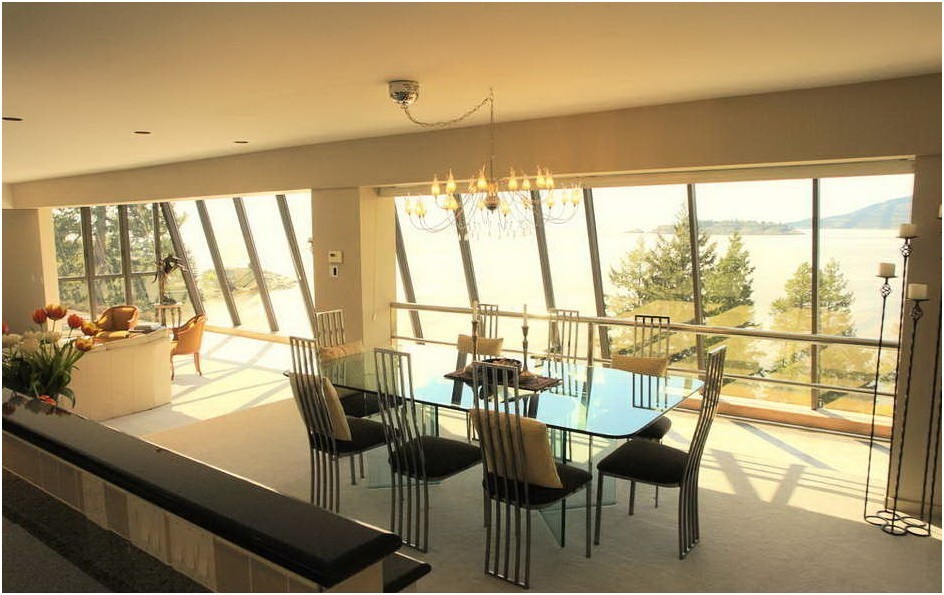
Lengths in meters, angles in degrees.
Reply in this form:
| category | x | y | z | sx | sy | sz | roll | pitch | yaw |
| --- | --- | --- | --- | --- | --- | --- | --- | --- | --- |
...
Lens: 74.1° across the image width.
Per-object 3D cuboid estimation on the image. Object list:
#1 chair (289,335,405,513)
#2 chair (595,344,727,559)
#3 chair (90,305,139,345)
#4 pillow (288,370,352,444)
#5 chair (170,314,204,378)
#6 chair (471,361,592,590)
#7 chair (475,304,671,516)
| category | x | y | z | sx | sy | sz | roll | pitch | yaw |
| --- | --- | --- | --- | --- | --- | --- | --- | --- | --- |
| chair | -1.053 | 1.116 | 5.478 | 0.884 | 1.462 | 0.781 | -3 | 5 | -37 |
| chair | 1.469 | 1.239 | 4.990 | 0.899 | 1.454 | 0.824 | 2 | 2 | 41 |
| chair | -5.319 | 0.471 | 9.355 | 0.620 | 0.639 | 0.608 | 5 | 6 | 22 |
| pillow | -1.194 | 0.896 | 5.217 | 0.447 | 0.549 | 0.414 | -11 | 14 | -43 |
| chair | -4.206 | 0.677 | 9.240 | 0.517 | 0.910 | 1.207 | -6 | 14 | -23 |
| chair | 0.420 | 1.189 | 4.752 | 0.840 | 1.619 | 1.006 | 0 | 13 | 0 |
| chair | 0.876 | 0.989 | 5.404 | 1.119 | 1.177 | 1.738 | -7 | 9 | -44 |
